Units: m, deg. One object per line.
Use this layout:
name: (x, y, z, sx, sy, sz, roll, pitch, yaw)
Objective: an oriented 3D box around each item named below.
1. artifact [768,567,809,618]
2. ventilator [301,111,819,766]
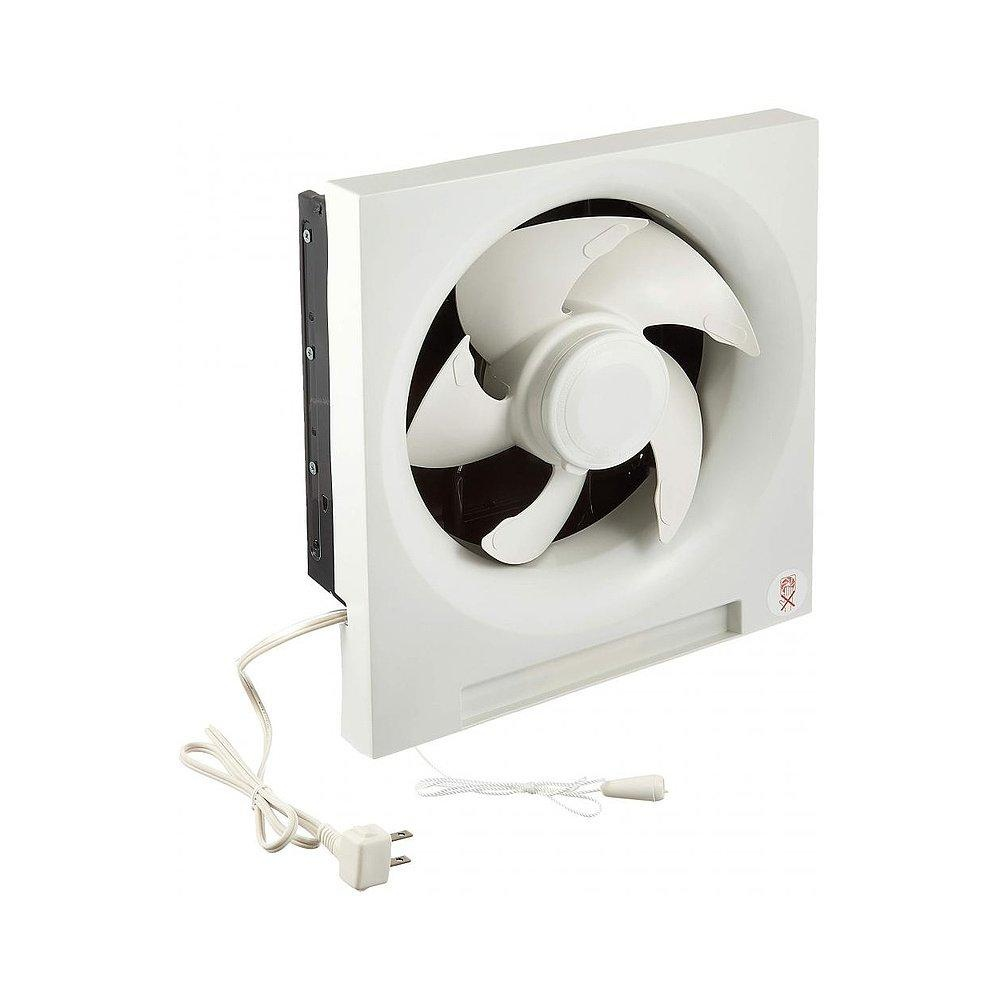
artifact: (0.872, 0.286, 3.515, 0.138, 0.033, 0.151, -5, -73, -36)
ventilator: (0.118, -0.229, 2.892, 1.259, 0.447, 1.320, -16, -59, -33)
